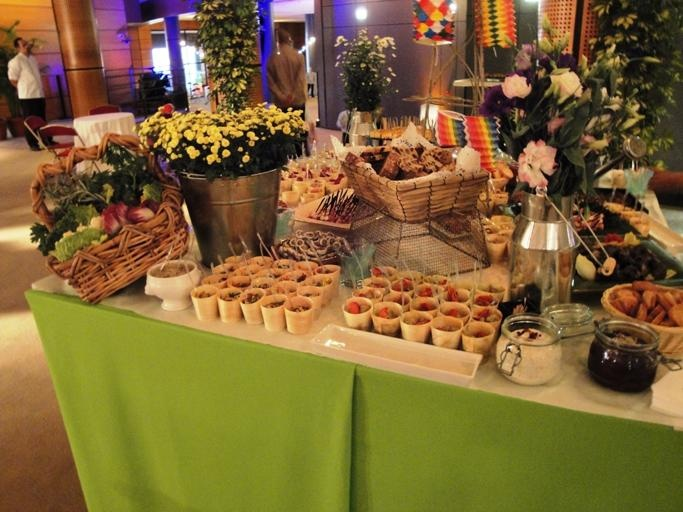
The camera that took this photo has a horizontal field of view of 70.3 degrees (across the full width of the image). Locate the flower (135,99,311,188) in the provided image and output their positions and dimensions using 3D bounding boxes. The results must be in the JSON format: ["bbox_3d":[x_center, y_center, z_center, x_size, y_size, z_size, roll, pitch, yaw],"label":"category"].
[{"bbox_3d":[-0.422,-0.417,1.734,0.563,0.199,0.546,9,25,32],"label":"flower"}]

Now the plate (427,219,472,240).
[{"bbox_3d":[0.367,-0.094,1.632,0.089,0.022,0.091,8,23,25],"label":"plate"}]

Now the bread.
[{"bbox_3d":[0.229,-0.341,1.738,0.258,0.091,0.202,-13,21,-24],"label":"bread"}]

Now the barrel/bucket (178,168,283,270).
[{"bbox_3d":[-0.420,-0.157,1.800,0.364,0.320,0.410,12,22,33],"label":"barrel/bucket"}]

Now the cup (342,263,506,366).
[{"bbox_3d":[0.238,0.150,1.382,0.371,0.116,0.251,9,32,22],"label":"cup"}]

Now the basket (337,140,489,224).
[{"bbox_3d":[0.299,-0.258,1.780,0.388,0.169,0.513,-9,17,-6],"label":"basket"}]

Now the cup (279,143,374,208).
[{"bbox_3d":[-0.146,-0.406,2.493,0.272,0.166,0.386,-2,26,13],"label":"cup"}]

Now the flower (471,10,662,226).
[{"bbox_3d":[0.603,-0.385,1.267,0.414,0.499,0.491,-9,24,-19],"label":"flower"}]
